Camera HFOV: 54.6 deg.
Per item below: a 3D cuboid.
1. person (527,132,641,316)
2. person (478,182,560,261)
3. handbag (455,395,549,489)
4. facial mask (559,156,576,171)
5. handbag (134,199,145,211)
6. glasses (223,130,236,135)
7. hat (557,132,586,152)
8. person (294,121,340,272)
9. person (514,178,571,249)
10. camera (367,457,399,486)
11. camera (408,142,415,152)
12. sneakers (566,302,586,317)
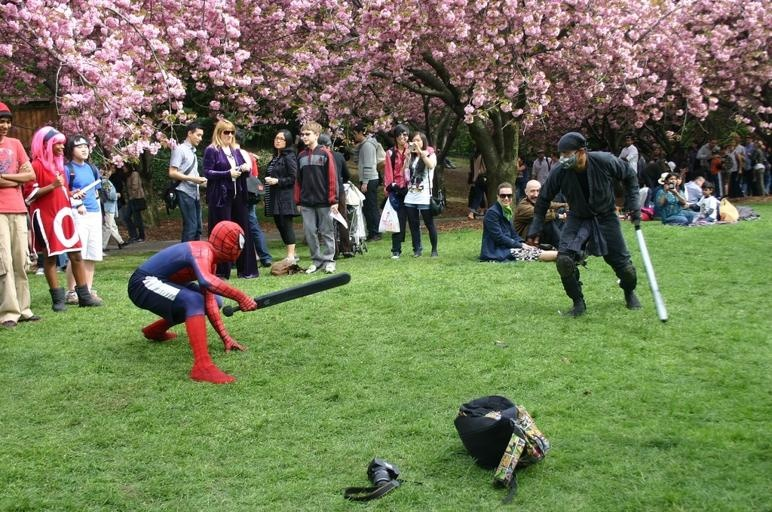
[{"bbox_3d":[2.641,-0.425,10.119,1.587,2.365,0.925,-6,8,-3],"label":"person"},{"bbox_3d":[2.498,-0.498,12.944,1.850,1.338,0.822,15,28,43],"label":"person"},{"bbox_3d":[1.068,1.744,7.135,0.764,0.695,0.546,9,18,37],"label":"handbag"},{"bbox_3d":[2.365,-1.207,9.732,0.167,0.094,0.138,-37,22,-33],"label":"facial mask"},{"bbox_3d":[-6.259,-1.330,19.005,0.277,0.241,0.112,-9,15,14],"label":"handbag"},{"bbox_3d":[-2.457,-1.958,11.846,0.122,0.074,0.224,3,14,19],"label":"glasses"},{"bbox_3d":[2.410,-1.482,9.703,0.334,0.188,0.235,0,3,-7],"label":"hat"},{"bbox_3d":[-1.122,-0.967,12.427,0.682,2.488,0.913,-4,15,-7],"label":"person"},{"bbox_3d":[2.702,-0.779,13.546,1.096,1.047,0.825,10,23,27],"label":"person"},{"bbox_3d":[-0.038,2.024,6.977,0.305,0.177,0.235,2,14,13],"label":"camera"},{"bbox_3d":[0.465,-1.940,13.282,0.120,0.153,0.052,4,20,32],"label":"camera"},{"bbox_3d":[2.545,0.718,10.030,0.330,0.205,0.122,-5,6,-9],"label":"sneakers"}]
